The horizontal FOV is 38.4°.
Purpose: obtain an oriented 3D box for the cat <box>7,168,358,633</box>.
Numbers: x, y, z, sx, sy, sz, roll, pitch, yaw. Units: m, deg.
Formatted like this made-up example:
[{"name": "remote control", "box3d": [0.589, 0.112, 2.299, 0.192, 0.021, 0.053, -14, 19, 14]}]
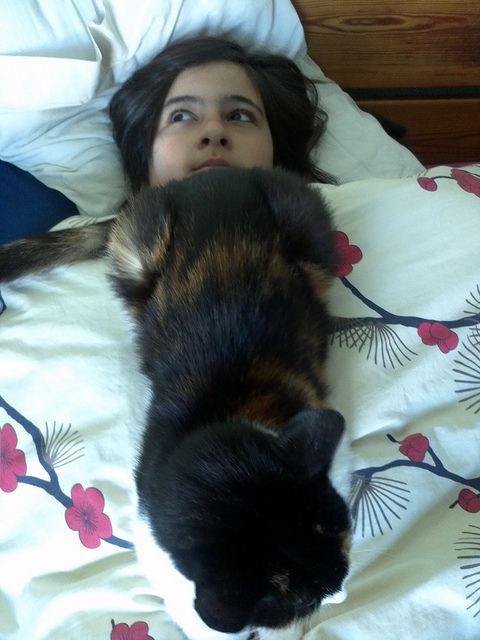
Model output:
[{"name": "cat", "box3d": [-0.001, 0.070, 0.831, 0.481, 0.180, 0.455, -2, 81, 4]}]
